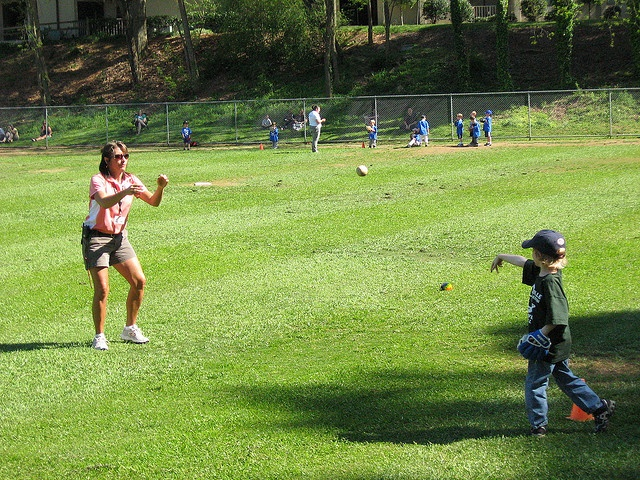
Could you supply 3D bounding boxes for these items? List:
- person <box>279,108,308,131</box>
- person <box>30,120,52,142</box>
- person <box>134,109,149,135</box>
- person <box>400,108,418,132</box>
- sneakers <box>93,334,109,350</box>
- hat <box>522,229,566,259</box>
[{"bbox_3d":[-1.377,-5.873,51.374,1.316,0.999,2.408,-5,7,-1],"label":"person"},{"bbox_3d":[-13.979,-5.571,52.922,0.616,0.951,1.346,14,35,29],"label":"person"},{"bbox_3d":[-9.181,-5.997,53.003,0.846,1.070,0.456,-4,-8,25],"label":"person"},{"bbox_3d":[4.224,-5.802,50.027,0.823,1.095,2.334,-5,7,3],"label":"person"},{"bbox_3d":[-4.279,1.951,20.133,0.297,0.329,0.215,-7,7,-16],"label":"sneakers"},{"bbox_3d":[3.977,0.051,18.387,0.669,0.364,0.476,27,26,35],"label":"hat"}]
